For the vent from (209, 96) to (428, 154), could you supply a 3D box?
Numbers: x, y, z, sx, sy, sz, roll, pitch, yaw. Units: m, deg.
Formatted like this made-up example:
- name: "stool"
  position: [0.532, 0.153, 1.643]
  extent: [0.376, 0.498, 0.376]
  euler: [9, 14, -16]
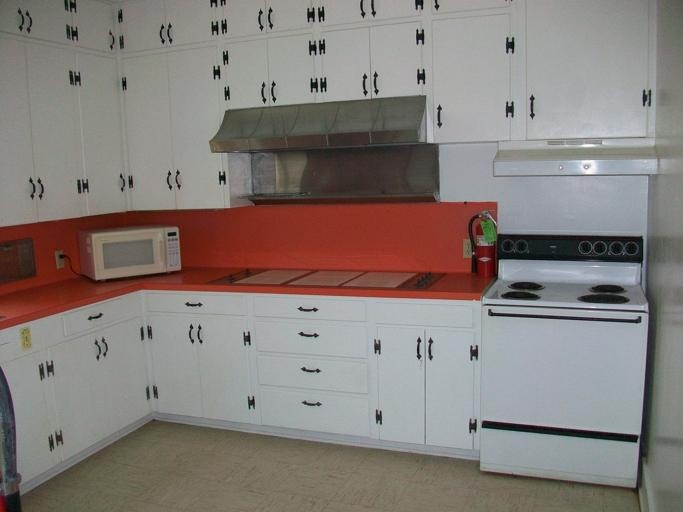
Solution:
- name: "vent"
  position: [-0.193, -0.969, 4.061]
  extent: [1.588, 0.337, 0.318]
  euler: [2, 15, 17]

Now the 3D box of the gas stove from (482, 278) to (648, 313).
- name: "gas stove"
  position: [1.430, 0.194, 3.608]
  extent: [0.934, 0.148, 0.738]
  euler: [1, 8, 21]

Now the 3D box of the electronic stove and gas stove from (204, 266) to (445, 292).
- name: "electronic stove and gas stove"
  position: [-0.109, 0.167, 4.284]
  extent: [1.718, 0.094, 0.651]
  euler: [2, 17, 15]

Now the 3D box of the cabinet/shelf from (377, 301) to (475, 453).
- name: "cabinet/shelf"
  position: [0.622, 0.751, 4.124]
  extent: [0.880, 1.413, 0.862]
  euler: [0, 2, 18]

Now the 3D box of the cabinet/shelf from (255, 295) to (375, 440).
- name: "cabinet/shelf"
  position: [-0.145, 0.786, 4.469]
  extent: [1.055, 1.445, 0.881]
  euler: [0, 3, 17]

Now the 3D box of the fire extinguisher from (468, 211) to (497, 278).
- name: "fire extinguisher"
  position: [1.055, -0.093, 4.179]
  extent: [0.217, 0.456, 0.215]
  euler: [2, 15, 15]
